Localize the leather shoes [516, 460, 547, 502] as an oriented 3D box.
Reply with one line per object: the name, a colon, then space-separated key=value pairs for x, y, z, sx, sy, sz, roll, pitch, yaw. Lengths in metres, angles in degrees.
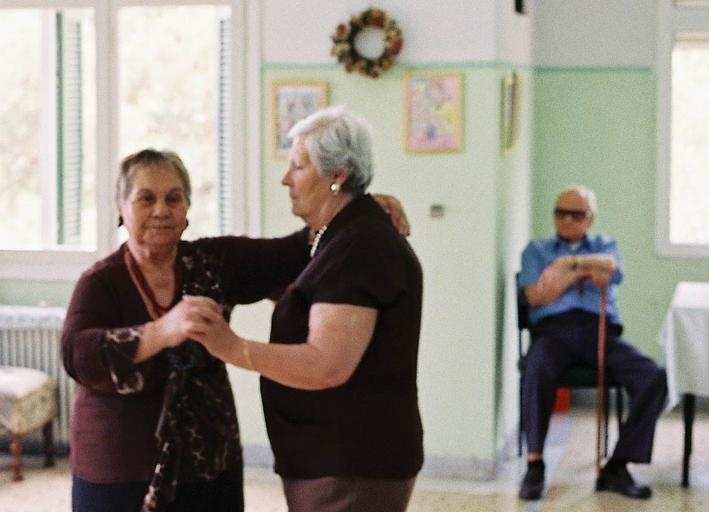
leather shoes: x=0.758 y=0.943 z=3.284 sx=0.111 sy=0.180 sz=0.185 roll=6 pitch=-18 yaw=19

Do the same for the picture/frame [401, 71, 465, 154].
picture/frame: x=0.328 y=-0.601 z=3.175 sx=0.342 sy=0.445 sz=0.045 roll=0 pitch=1 yaw=3

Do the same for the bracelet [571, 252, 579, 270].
bracelet: x=0.893 y=0.022 z=3.158 sx=0.027 sy=0.053 sz=0.012 roll=2 pitch=2 yaw=9

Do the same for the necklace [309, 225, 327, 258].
necklace: x=-0.109 y=-0.047 z=2.255 sx=0.020 sy=0.083 sz=0.058 roll=29 pitch=15 yaw=3

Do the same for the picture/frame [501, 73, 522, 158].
picture/frame: x=0.635 y=-0.588 z=3.199 sx=0.027 sy=0.364 sz=0.327 roll=2 pitch=5 yaw=22

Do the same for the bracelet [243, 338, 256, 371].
bracelet: x=-0.287 y=0.266 z=2.120 sx=0.040 sy=0.087 sz=0.072 roll=1 pitch=2 yaw=-10
